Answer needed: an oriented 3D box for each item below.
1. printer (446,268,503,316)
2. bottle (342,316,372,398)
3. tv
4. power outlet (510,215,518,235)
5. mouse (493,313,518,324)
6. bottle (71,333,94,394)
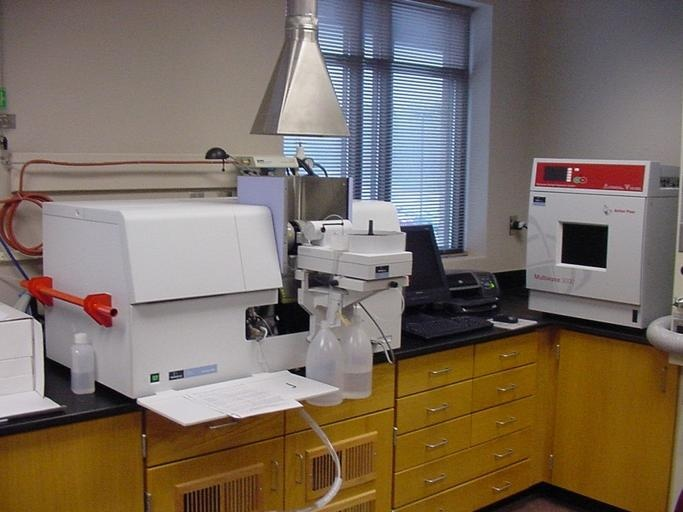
[{"bbox_3d":[0.759,0.198,3.350,0.290,0.195,0.246,-4,5,-32],"label":"printer"},{"bbox_3d":[0.057,0.388,2.326,0.132,0.365,0.077,-7,9,-16],"label":"bottle"},{"bbox_3d":[0.427,0.040,3.215,0.331,0.411,0.269,-8,10,-21],"label":"tv"},{"bbox_3d":[1.256,-0.233,4.263,0.066,0.133,0.132,2,5,31],"label":"power outlet"},{"bbox_3d":[0.891,0.336,3.197,0.103,0.035,0.059,4,7,42],"label":"mouse"},{"bbox_3d":[-0.957,0.391,2.138,0.086,0.209,0.081,-4,9,1],"label":"bottle"}]
